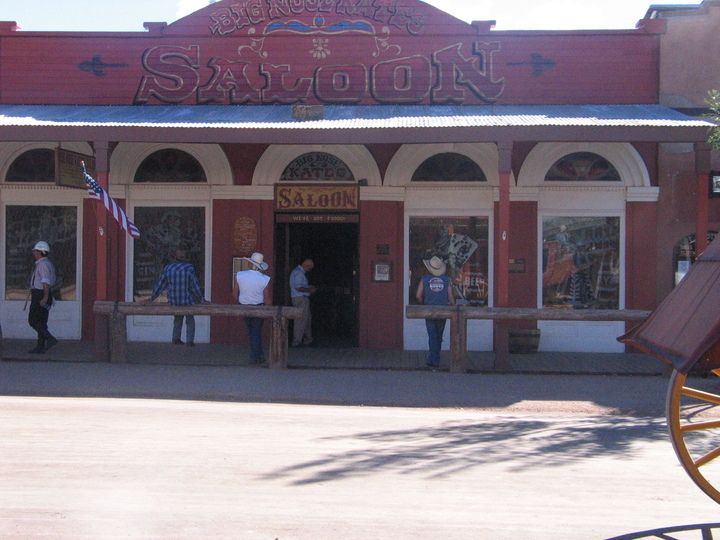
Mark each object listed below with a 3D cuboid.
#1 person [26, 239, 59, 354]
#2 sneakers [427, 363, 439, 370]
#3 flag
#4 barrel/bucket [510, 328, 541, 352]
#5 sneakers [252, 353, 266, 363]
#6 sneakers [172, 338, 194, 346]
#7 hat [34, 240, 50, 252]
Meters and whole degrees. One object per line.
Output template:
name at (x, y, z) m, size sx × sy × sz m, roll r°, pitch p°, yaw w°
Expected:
person at (-5.840, 0.493, 20.642) m, size 0.500 × 2.016 × 0.404 m, roll 0°, pitch -2°, yaw 5°
sneakers at (1.266, 1.703, 20.002) m, size 0.150 × 0.107 × 0.108 m, roll 2°, pitch 0°, yaw 29°
flag at (-4.426, -1.127, 19.948) m, size 0.896 × 1.056 × 0.667 m, roll 1°, pitch -2°, yaw -12°
barrel/bucket at (3.087, 1.344, 21.551) m, size 0.466 × 0.298 × 0.445 m, roll 1°, pitch -6°, yaw 0°
sneakers at (-1.801, 1.577, 20.109) m, size 0.205 × 0.150 × 0.390 m, roll 0°, pitch -2°, yaw 28°
sneakers at (-3.387, 1.360, 21.233) m, size 0.475 × 0.197 × 0.164 m, roll 0°, pitch -1°, yaw -1°
hat at (-5.922, -0.434, 20.780) m, size 0.296 × 0.167 × 0.250 m, roll 15°, pitch 10°, yaw 12°
